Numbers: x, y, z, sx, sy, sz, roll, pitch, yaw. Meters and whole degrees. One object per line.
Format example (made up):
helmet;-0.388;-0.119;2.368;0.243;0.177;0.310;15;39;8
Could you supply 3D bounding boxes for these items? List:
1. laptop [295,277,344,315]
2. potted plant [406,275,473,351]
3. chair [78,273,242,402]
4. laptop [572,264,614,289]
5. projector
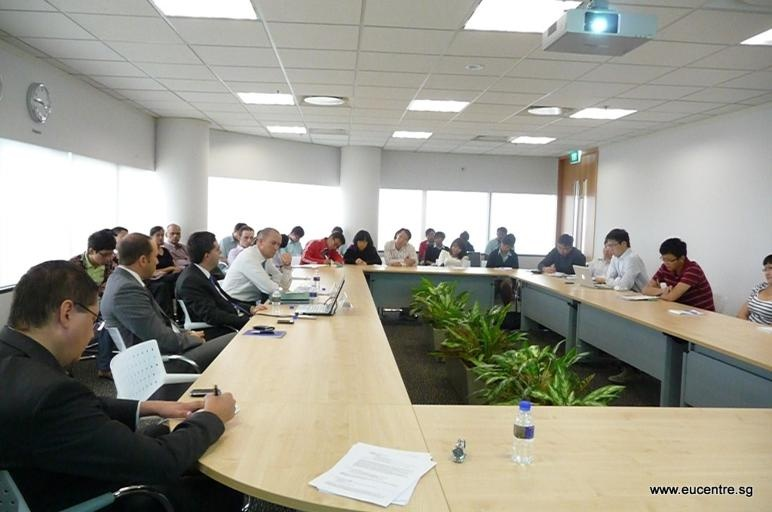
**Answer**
laptop;-0.613;0.371;4.948;0.407;0.285;0.459;3;4;-6
potted plant;0.686;0.682;6.329;0.787;0.852;0.820;1;-4;-7
chair;-1.924;0.535;4.477;0.974;1.581;0.849;-1;5;6
laptop;2.720;0.256;6.893;0.233;0.281;0.386;-5;2;-24
projector;1.757;-1.868;4.380;0.523;0.146;0.498;2;-6;-8
